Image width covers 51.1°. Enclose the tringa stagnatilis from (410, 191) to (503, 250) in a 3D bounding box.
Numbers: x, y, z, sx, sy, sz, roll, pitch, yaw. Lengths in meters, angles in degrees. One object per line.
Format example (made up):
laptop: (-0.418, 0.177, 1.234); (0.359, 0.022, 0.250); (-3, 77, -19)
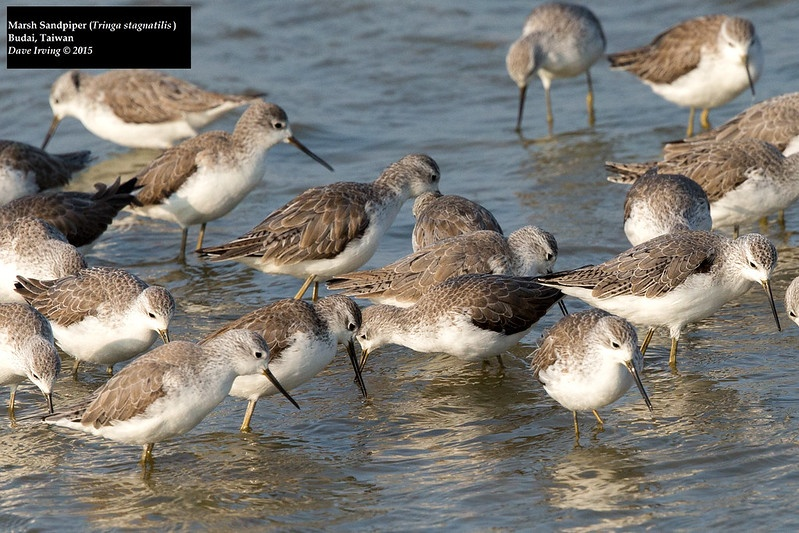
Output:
tringa stagnatilis: (0.548, -0.663, 11.599); (1.290, 0.665, 0.825); (4, 17, 45)
